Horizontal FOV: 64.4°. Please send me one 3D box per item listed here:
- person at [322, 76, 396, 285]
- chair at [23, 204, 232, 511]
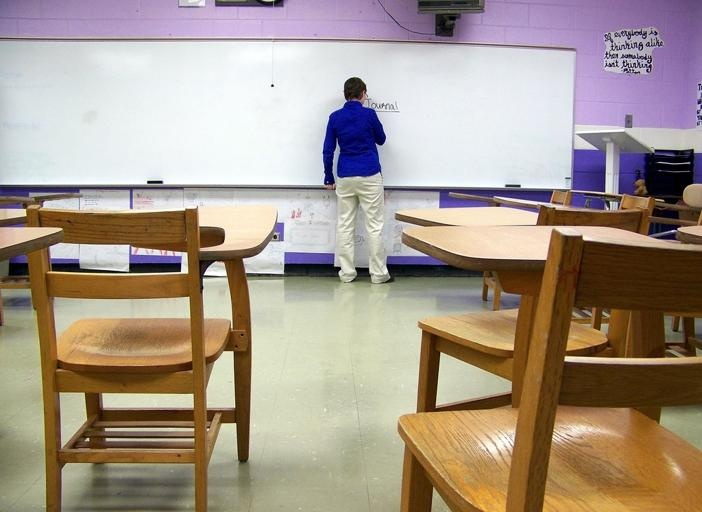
[{"bbox_3d":[0.051,-0.693,5.192,0.667,1.880,0.352,3,12,10],"label":"person"},{"bbox_3d":[-0.717,0.294,1.813,0.492,0.940,0.511,-2,12,-10],"label":"chair"}]
